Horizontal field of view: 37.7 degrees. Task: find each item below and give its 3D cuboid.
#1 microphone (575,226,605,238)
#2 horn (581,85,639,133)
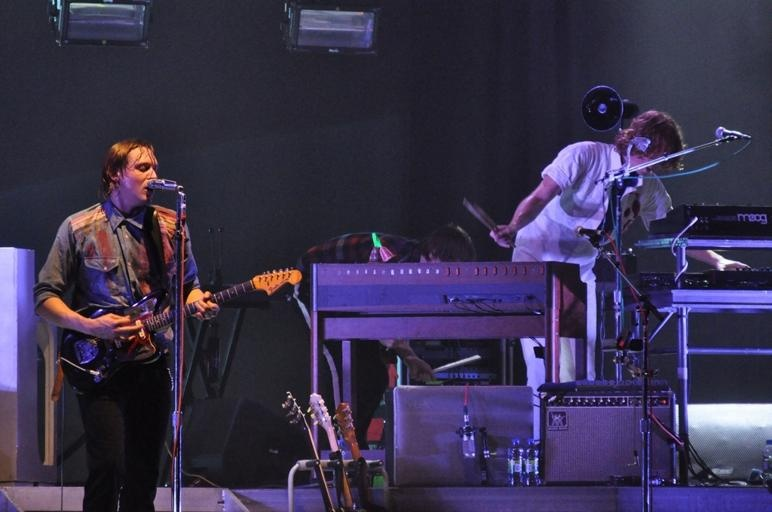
[{"bbox_3d":[1.443,-0.169,7.954,0.175,0.065,0.069,8,-39,-28],"label":"microphone"},{"bbox_3d":[1.757,-1.152,8.938,0.408,0.378,0.372,-2,7,1],"label":"horn"}]
